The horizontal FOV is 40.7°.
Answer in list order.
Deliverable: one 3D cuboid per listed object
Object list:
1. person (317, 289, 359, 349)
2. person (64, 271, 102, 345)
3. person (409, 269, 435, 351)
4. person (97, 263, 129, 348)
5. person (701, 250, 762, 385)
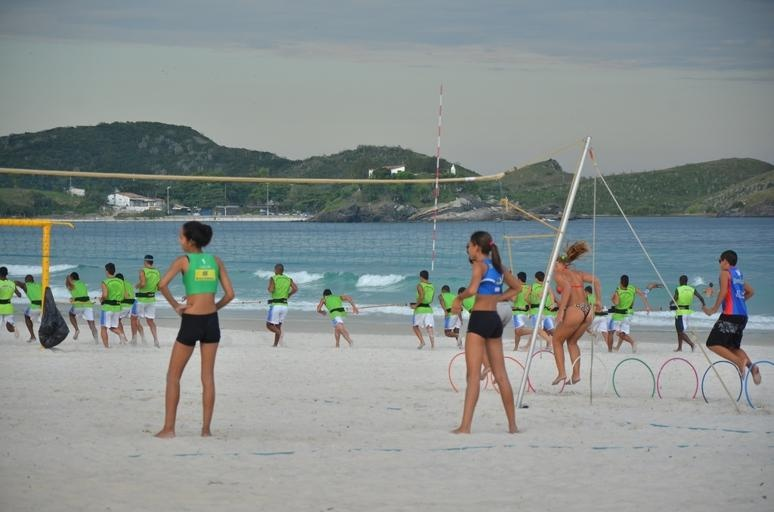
[{"bbox_3d":[-1.177,1.396,24.016,0.773,1.258,1.649,-1,2,-4],"label":"person"},{"bbox_3d":[-6.868,1.113,23.530,0.630,1.519,1.857,-1,2,-16],"label":"person"},{"bbox_3d":[0.817,1.199,23.749,0.525,1.757,1.320,-1,2,2],"label":"person"},{"bbox_3d":[-5.956,1.041,22.657,0.551,1.755,0.998,-1,2,-15],"label":"person"},{"bbox_3d":[6.302,1.140,18.982,0.942,2.475,1.030,0,2,18],"label":"person"}]
